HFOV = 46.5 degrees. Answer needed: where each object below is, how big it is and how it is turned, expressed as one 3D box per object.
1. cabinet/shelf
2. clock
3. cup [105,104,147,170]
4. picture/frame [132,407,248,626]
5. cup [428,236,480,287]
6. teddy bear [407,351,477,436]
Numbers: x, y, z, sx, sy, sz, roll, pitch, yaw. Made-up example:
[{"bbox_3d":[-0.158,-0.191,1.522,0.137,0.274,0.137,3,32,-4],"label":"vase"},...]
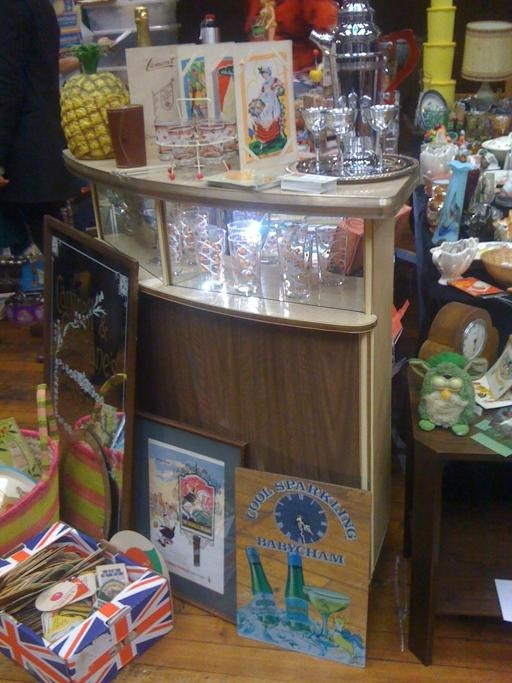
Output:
[{"bbox_3d":[-0.056,0.117,1.566,1.008,1.207,0.586,13,34,23],"label":"cabinet/shelf"},{"bbox_3d":[0.590,-0.009,1.705,0.253,0.188,0.087,-23,29,-30],"label":"clock"},{"bbox_3d":[-0.354,-0.567,1.657,0.128,0.155,0.130,-2,24,1],"label":"cup"},{"bbox_3d":[-0.171,0.493,1.667,0.524,0.614,0.043,12,15,36],"label":"picture/frame"},{"bbox_3d":[0.657,-0.269,1.952,0.165,0.114,0.121,-18,25,-30],"label":"cup"},{"bbox_3d":[0.437,0.114,1.378,0.158,0.171,0.097,2,6,13],"label":"teddy bear"}]
